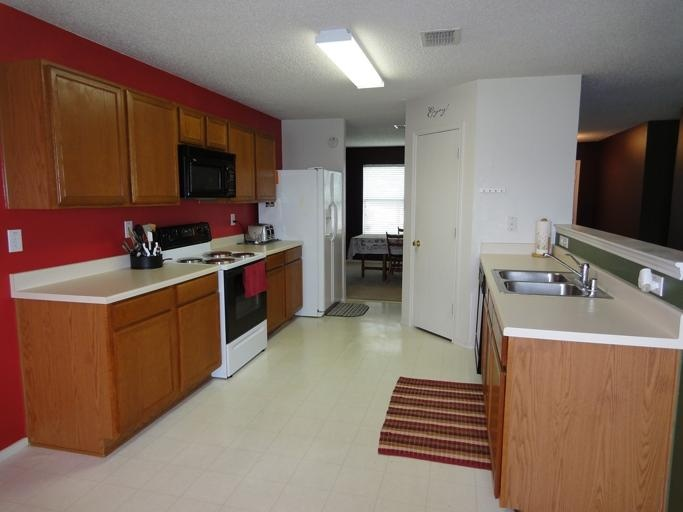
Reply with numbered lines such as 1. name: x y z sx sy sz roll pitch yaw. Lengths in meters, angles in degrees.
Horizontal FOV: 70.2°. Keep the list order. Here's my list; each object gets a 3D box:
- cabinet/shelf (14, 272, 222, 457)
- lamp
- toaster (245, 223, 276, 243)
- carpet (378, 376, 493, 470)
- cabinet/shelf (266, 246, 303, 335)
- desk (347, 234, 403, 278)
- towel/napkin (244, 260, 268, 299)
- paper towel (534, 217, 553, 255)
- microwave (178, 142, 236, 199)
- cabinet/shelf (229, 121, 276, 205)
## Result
1. cabinet/shelf: -1.646 0.716 3.892 0.748 1.092 1.487 2 6 12
2. lamp: 0.069 -1.628 4.019 0.392 0.276 1.092 3 14 12
3. toaster: -0.980 -0.265 5.769 0.226 0.214 0.324 2 1 0
4. carpet: 0.721 1.175 3.630 0.788 0.942 0.086 7 34 8
5. cabinet/shelf: -0.655 0.377 5.416 0.430 0.758 0.877 -1 6 11
6. desk: 0.641 0.028 8.725 0.967 0.668 1.235 -3 0 -8
7. towel/napkin: -0.840 0.219 4.615 0.087 0.300 0.418 6 10 16
8. paper towel: 1.909 -0.181 4.564 0.155 0.335 0.243 5 15 23
9. microwave: -1.149 -0.753 4.535 0.682 0.423 0.331 9 8 31
10. cabinet/shelf: -0.984 -0.997 5.264 0.308 0.667 1.006 0 4 3
